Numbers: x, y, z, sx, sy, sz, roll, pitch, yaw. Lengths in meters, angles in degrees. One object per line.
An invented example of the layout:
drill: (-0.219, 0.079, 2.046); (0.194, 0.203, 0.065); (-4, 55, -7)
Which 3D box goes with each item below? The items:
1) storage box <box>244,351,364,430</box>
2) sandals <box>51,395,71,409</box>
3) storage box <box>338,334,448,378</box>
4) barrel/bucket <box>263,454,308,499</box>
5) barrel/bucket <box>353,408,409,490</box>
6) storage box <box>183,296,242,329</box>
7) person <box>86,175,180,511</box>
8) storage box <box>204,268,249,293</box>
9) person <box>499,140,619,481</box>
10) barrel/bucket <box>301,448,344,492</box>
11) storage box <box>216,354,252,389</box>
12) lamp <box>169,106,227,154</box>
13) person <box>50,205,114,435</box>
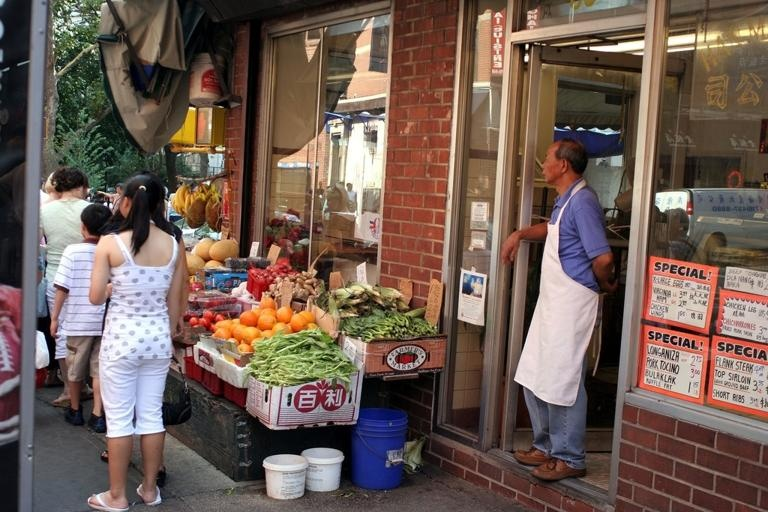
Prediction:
storage box: (-0.697, 1.075, 5.164); (0.898, 0.529, 0.576); (-2, 11, -45)
sandals: (-3.537, 1.623, 6.855); (0.206, 0.090, 0.083); (7, 7, -4)
storage box: (0.058, 0.820, 5.479); (0.919, 0.328, 0.518); (1, 7, -36)
barrel/bucket: (-0.802, 1.784, 5.073); (0.316, 0.229, 0.317); (1, 7, 0)
barrel/bucket: (-0.066, 1.636, 5.460); (0.545, 0.619, 0.499); (2, 2, 0)
storage box: (-1.805, 0.583, 6.547); (0.545, 0.299, 0.484); (-5, 8, -28)
person: (-1.823, 0.682, 4.632); (0.670, 2.560, 0.334); (-1, 6, -26)
storage box: (-1.871, 0.298, 7.331); (0.483, 0.250, 0.283); (0, 7, -16)
person: (1.435, 0.438, 4.975); (0.674, 2.712, 0.472); (4, 6, 21)
barrel/bucket: (-0.535, 1.777, 5.221); (0.312, 0.239, 0.322); (3, 5, 0)
storage box: (-1.299, 1.013, 5.385); (0.244, 0.147, 0.332); (6, 1, -35)
lamp: (-2.674, -1.812, 8.886); (1.016, 0.637, 0.417); (8, 8, 40)
person: (-2.907, 0.611, 6.230); (0.654, 2.156, 0.737); (2, 2, -15)
